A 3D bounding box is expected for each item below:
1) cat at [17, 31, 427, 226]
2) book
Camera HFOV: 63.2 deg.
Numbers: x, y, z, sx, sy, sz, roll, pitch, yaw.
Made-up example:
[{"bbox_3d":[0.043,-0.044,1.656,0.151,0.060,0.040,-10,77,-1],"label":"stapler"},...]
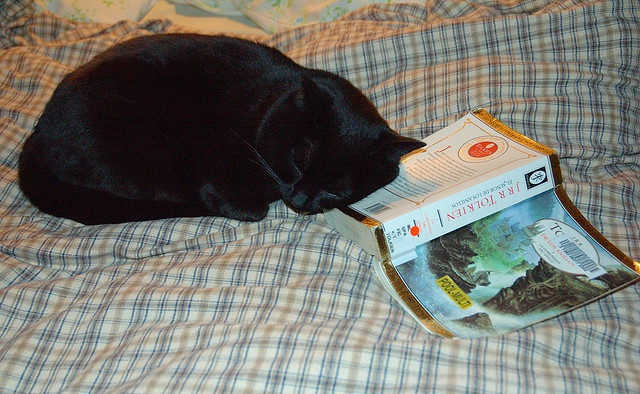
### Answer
[{"bbox_3d":[-0.309,-0.165,1.632,1.236,0.425,0.538,5,44,6],"label":"cat"},{"bbox_3d":[0.370,0.099,1.243,0.696,0.141,0.580,-22,56,-16],"label":"book"}]
